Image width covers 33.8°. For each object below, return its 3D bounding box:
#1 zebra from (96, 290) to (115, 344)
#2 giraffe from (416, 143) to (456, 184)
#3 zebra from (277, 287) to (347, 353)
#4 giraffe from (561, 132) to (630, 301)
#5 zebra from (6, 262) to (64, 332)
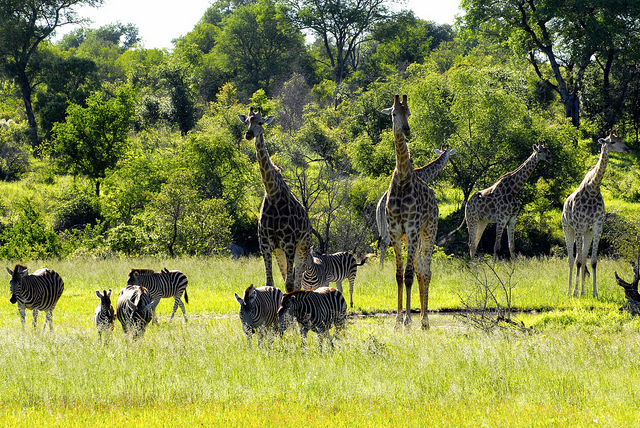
[{"bbox_3d":[-12.598,5.881,61.433,1.022,2.886,0.618,2,-5,-13],"label":"zebra"},{"bbox_3d":[8.105,-3.619,73.371,0.951,3.219,3.775,15,36,34],"label":"giraffe"},{"bbox_3d":[-0.216,5.990,61.205,1.833,4.216,5.784,9,16,43],"label":"zebra"},{"bbox_3d":[16.888,0.053,66.012,3.271,10.430,1.532,0,-5,17],"label":"giraffe"},{"bbox_3d":[-17.086,4.938,63.089,2.943,3.788,1.093,3,-5,-19],"label":"zebra"}]
